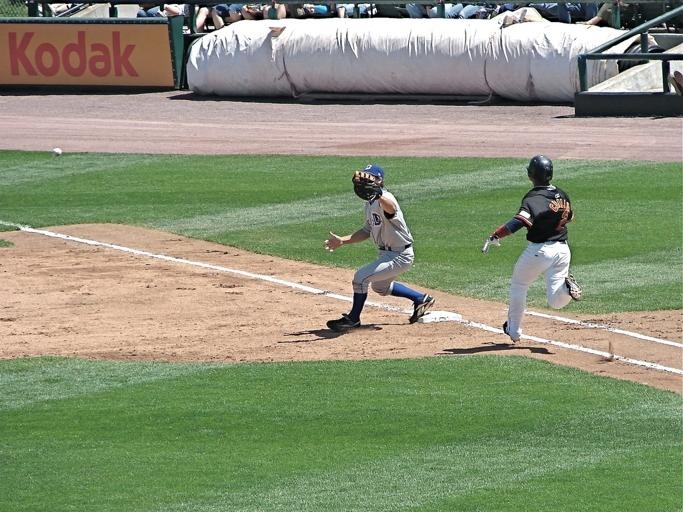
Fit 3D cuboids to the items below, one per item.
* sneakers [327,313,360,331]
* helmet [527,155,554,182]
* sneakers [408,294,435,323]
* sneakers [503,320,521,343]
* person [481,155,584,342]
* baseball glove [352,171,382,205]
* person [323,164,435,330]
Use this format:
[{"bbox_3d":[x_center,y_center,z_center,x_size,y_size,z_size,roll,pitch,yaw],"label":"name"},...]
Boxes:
[{"bbox_3d":[0.036,0.977,24.539,0.578,0.220,0.194,-1,23,-7],"label":"sneakers"},{"bbox_3d":[2.864,-1.287,23.598,0.380,0.360,0.400,0,23,-3],"label":"helmet"},{"bbox_3d":[1.205,0.795,24.721,0.276,0.575,0.201,22,41,-12],"label":"sneakers"},{"bbox_3d":[2.477,1.075,23.902,0.168,0.167,0.457,-9,19,-18],"label":"sneakers"},{"bbox_3d":[2.859,-0.093,23.544,1.131,2.689,0.462,-2,8,5],"label":"person"},{"bbox_3d":[0.397,-1.025,23.850,0.386,0.457,0.223,0,43,35],"label":"baseball glove"},{"bbox_3d":[0.553,-0.144,24.353,1.162,2.464,0.888,-10,10,-43],"label":"person"}]
